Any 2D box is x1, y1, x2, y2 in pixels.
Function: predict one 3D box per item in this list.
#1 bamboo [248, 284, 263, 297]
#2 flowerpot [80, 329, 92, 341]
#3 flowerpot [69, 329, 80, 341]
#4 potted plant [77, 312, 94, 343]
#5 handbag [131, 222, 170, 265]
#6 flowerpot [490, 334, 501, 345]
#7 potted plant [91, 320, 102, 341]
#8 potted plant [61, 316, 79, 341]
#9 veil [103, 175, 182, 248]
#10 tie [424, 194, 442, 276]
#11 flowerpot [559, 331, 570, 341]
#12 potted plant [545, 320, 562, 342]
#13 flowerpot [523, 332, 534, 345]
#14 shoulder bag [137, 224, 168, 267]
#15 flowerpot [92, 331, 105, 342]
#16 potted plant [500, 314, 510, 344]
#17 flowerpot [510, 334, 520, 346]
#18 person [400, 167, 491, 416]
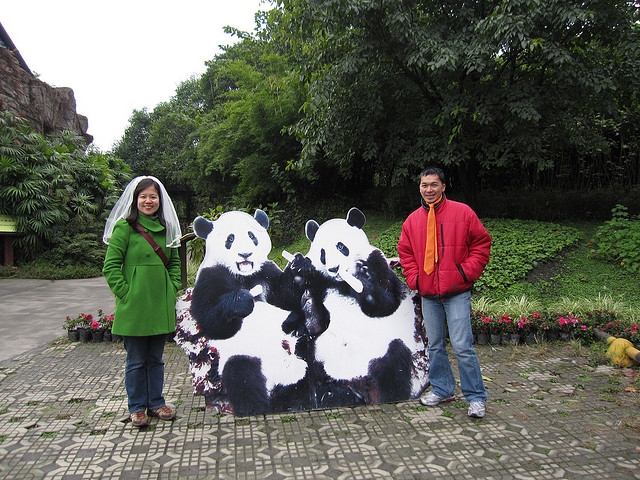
[{"bbox_3d":[-0.651,0.516,4.412,0.116,0.125,0.027,3,2,-18],"label":"bamboo"},{"bbox_3d":[-3.462,1.399,6.344,0.125,0.115,0.133,1,-12,-1],"label":"flowerpot"},{"bbox_3d":[-3.605,1.394,6.302,0.123,0.141,0.123,1,2,-6],"label":"flowerpot"},{"bbox_3d":[-3.497,1.320,6.383,0.272,0.420,0.225,1,-10,-10],"label":"potted plant"},{"bbox_3d":[-1.667,-0.001,4.269,0.293,0.415,0.274,9,9,23],"label":"handbag"},{"bbox_3d":[2.487,1.414,6.100,0.133,0.127,0.068,-1,10,-6],"label":"flowerpot"},{"bbox_3d":[-3.306,1.344,6.320,0.139,0.261,0.205,-7,12,-32],"label":"potted plant"},{"bbox_3d":[-3.791,1.353,6.495,0.242,0.297,0.190,1,-10,-21],"label":"potted plant"},{"bbox_3d":[-1.820,-0.289,4.516,0.835,0.899,0.655,0,5,-32],"label":"veil"},{"bbox_3d":[1.133,-0.006,4.365,0.227,0.977,0.078,3,37,15],"label":"tie"},{"bbox_3d":[3.533,1.382,6.188,0.136,0.122,0.061,-2,10,-8],"label":"flowerpot"},{"bbox_3d":[3.363,1.335,6.188,0.227,0.281,0.251,0,-9,-2],"label":"potted plant"},{"bbox_3d":[3.015,1.419,6.172,0.172,0.130,0.076,-8,12,-34],"label":"flowerpot"},{"bbox_3d":[-1.666,0.059,4.224,0.065,0.488,0.052,-41,17,-23],"label":"shoulder bag"},{"bbox_3d":[-3.248,1.416,6.283,0.126,0.106,0.135,1,-7,6],"label":"flowerpot"},{"bbox_3d":[2.645,1.294,6.113,0.127,0.352,0.151,4,11,24],"label":"potted plant"},{"bbox_3d":[2.780,1.402,6.139,0.134,0.148,0.144,14,5,30],"label":"flowerpot"},{"bbox_3d":[1.276,0.500,4.522,0.868,2.483,0.596,-2,1,43],"label":"person"}]
